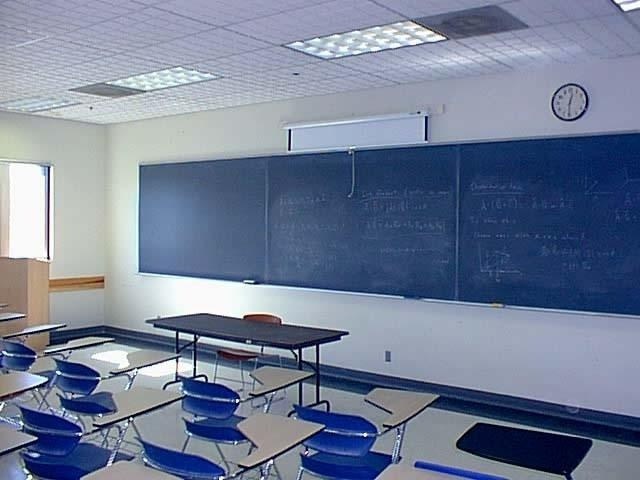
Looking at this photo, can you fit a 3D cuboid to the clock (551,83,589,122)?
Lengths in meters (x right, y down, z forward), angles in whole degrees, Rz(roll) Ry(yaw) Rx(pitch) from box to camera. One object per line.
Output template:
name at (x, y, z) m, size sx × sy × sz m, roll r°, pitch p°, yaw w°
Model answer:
clock at (2.613, -1.460, 4.816) m, size 0.445 × 0.483 × 0.074 m, roll -4°, pitch -6°, yaw 44°
